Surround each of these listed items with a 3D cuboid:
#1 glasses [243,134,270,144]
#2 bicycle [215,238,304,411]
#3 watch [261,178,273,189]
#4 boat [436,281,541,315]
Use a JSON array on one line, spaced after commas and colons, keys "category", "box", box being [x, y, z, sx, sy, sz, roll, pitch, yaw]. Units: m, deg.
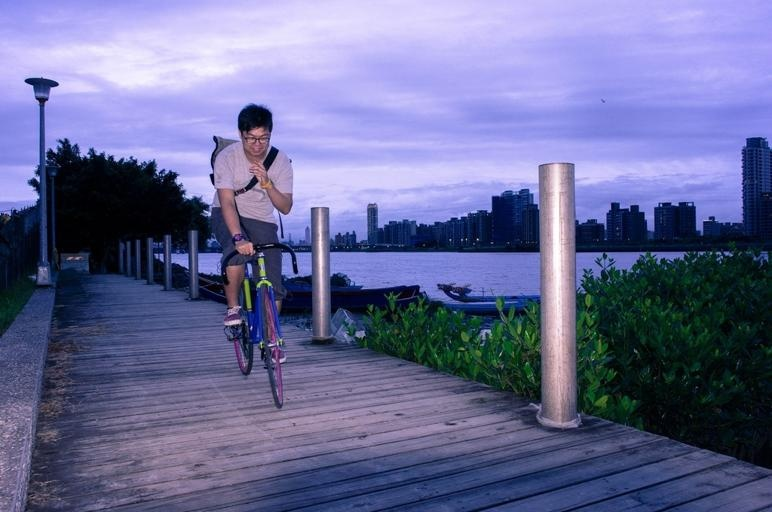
[{"category": "glasses", "box": [-1.237, -1.108, 6.544, 0.281, 0.105, 0.203, -1, 1, 0]}, {"category": "bicycle", "box": [-1.198, 0.608, 6.723, 0.533, 1.491, 1.272, -1, 1, -17]}, {"category": "watch", "box": [-1.146, -0.699, 6.664, 0.085, 0.055, 0.082, 0, 6, 20]}, {"category": "boat", "box": [5.440, 2.233, 35.079, 4.876, 1.338, 1.184, 2, 8, 12]}]
